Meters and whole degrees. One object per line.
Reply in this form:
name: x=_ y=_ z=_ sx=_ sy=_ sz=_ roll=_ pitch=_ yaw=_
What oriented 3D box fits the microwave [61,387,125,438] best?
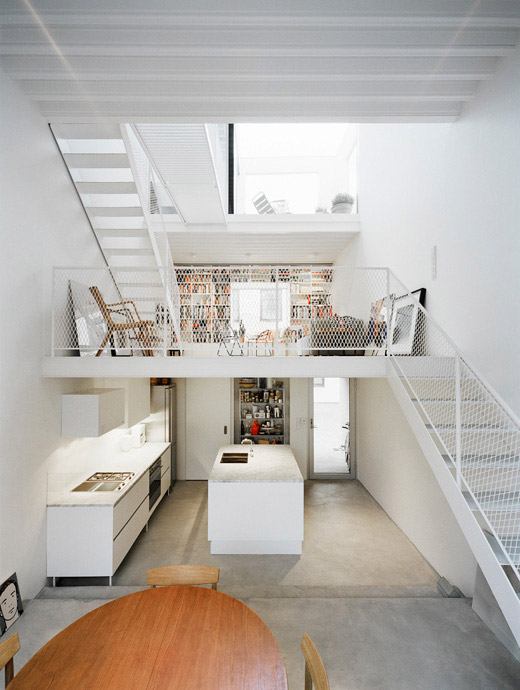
microwave: x=-1.691 y=0.702 z=5.080 sx=0.382 sy=0.439 sz=0.715 roll=-1 pitch=0 yaw=5

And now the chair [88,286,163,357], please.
chair: x=-1.561 y=-0.243 z=5.640 sx=0.467 sy=0.833 sz=0.477 roll=-2 pitch=-1 yaw=-20
